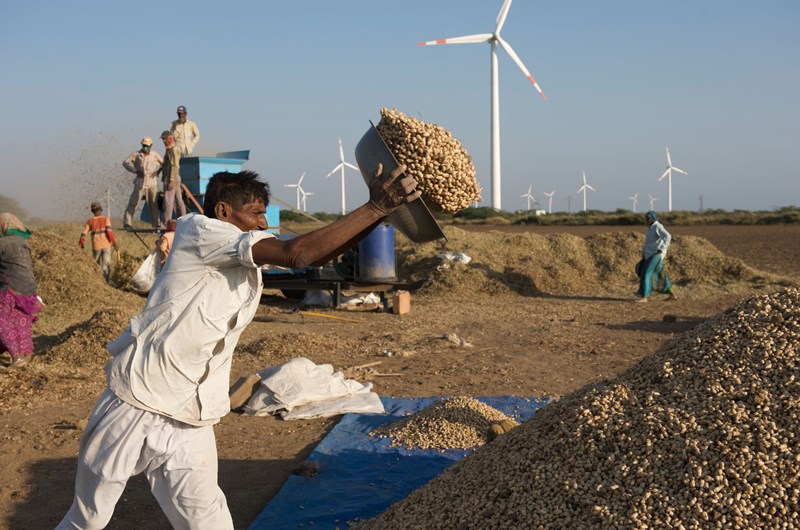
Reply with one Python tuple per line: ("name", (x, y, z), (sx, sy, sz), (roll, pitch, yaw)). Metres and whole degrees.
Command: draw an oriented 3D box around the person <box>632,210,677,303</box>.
("person", (4.692, -0.160, 18.236), (0.673, 1.666, 0.765), (3, 11, 20))
